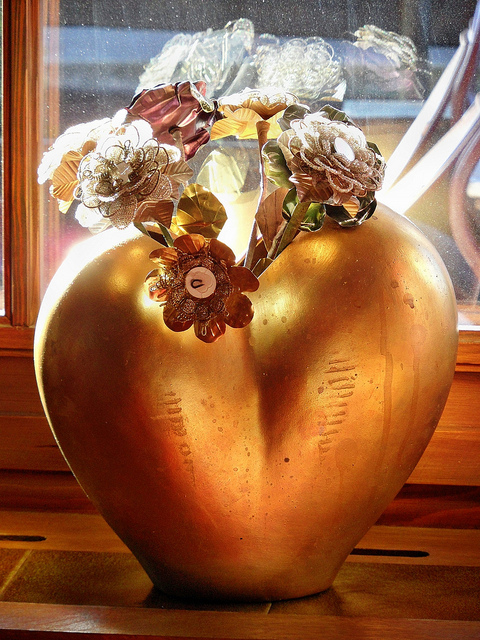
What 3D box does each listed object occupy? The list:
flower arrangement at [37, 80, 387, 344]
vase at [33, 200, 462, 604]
[{"bbox_3d":[-0.047,-0.105,0.756,0.361,0.170,0.330,15,15,28],"label":"flower arrangement"},{"bbox_3d":[-0.044,0.118,0.824,0.480,0.322,0.317,-2,75,-19],"label":"vase"}]
